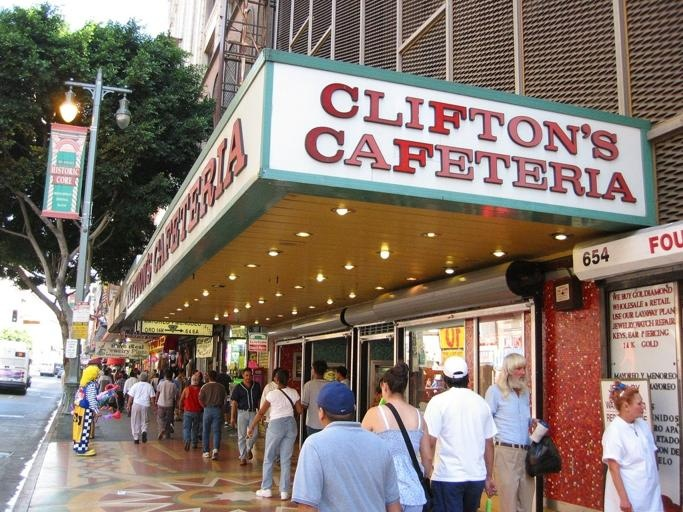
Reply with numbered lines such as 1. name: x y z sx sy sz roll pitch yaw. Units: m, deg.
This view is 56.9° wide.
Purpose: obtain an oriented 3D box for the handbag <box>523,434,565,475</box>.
1. handbag: 2.430 2.412 7.637 0.391 0.502 0.194 -3 -12 15

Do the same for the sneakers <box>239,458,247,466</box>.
1. sneakers: -2.098 4.390 13.438 0.080 0.112 0.112 0 1 0

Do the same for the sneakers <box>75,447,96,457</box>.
1. sneakers: -5.614 4.331 13.922 0.457 0.216 0.182 3 -3 -23

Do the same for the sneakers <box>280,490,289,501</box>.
1. sneakers: -0.922 3.902 10.340 0.152 0.144 0.213 1 -12 -5

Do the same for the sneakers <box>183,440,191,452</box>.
1. sneakers: -3.755 4.628 15.435 0.108 0.266 0.106 2 -2 -16

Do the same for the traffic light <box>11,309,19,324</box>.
1. traffic light: -31.166 5.562 60.195 0.304 1.245 1.649 5 -13 -23

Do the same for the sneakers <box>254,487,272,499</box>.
1. sneakers: -1.289 3.915 10.489 0.267 0.139 0.329 1 -12 -8

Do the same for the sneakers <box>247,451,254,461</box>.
1. sneakers: -2.019 4.476 14.149 0.177 0.176 0.182 -1 -3 -9
